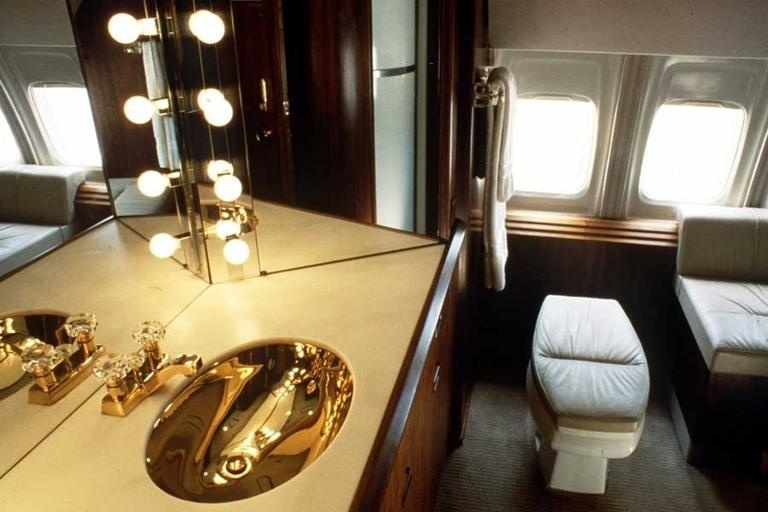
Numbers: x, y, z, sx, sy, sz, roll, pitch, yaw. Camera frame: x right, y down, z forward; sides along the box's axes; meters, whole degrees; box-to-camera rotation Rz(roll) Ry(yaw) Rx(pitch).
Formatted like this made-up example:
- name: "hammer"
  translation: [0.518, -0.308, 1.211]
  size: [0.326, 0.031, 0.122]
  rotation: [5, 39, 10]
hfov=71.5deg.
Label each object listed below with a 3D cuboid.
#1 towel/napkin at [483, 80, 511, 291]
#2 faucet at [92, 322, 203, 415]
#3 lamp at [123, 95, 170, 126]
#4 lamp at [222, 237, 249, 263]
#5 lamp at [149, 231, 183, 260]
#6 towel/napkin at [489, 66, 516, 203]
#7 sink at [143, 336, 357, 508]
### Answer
- name: "towel/napkin"
  translation: [0.480, -0.366, 2.312]
  size: [0.065, 0.646, 0.144]
  rotation: [1, 7, 9]
- name: "faucet"
  translation: [-0.550, 0.315, 1.304]
  size: [0.207, 0.128, 0.239]
  rotation: [12, 36, 11]
- name: "lamp"
  translation: [-0.636, -0.383, 1.430]
  size: [0.075, 0.079, 0.164]
  rotation: [5, 13, 27]
- name: "lamp"
  translation: [-0.461, -0.022, 1.641]
  size: [0.071, 0.086, 0.071]
  rotation: [3, 3, -27]
- name: "lamp"
  translation: [-0.630, -0.036, 1.554]
  size: [0.072, 0.077, 0.103]
  rotation: [5, 10, 14]
- name: "towel/napkin"
  translation: [0.507, -0.499, 2.229]
  size: [0.137, 0.482, 0.359]
  rotation: [4, 15, 25]
- name: "sink"
  translation: [-0.335, 0.399, 1.341]
  size: [0.510, 0.236, 0.312]
  rotation: [-12, 22, -29]
